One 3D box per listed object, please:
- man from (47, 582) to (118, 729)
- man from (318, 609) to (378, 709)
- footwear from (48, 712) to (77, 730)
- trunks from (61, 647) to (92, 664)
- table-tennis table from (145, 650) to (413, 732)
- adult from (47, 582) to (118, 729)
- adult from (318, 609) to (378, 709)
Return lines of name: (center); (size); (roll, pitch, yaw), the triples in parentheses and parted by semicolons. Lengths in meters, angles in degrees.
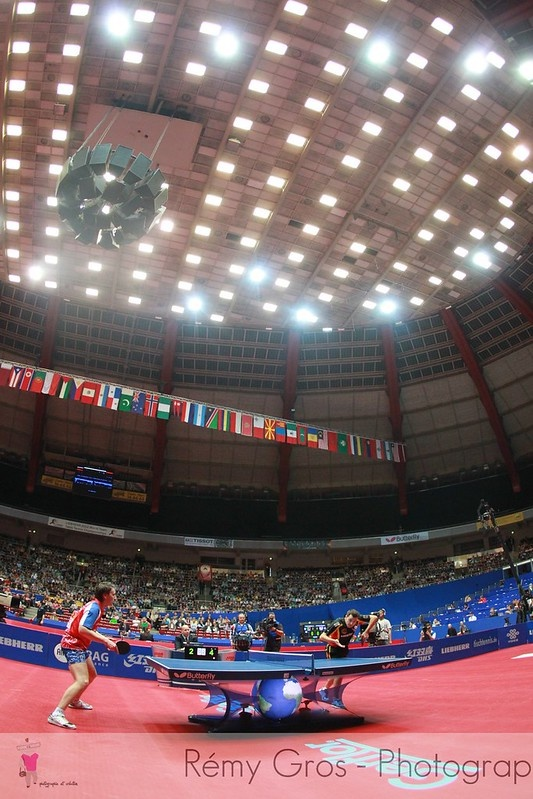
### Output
man: (-1.726, 2.385, 5.258); (0.520, 1.181, 1.501); (6, -25, -16)
man: (1.052, 3.311, 7.012); (0.696, 1.217, 0.602); (13, -15, -18)
footwear: (-1.720, 2.645, 4.547); (0.272, 0.147, 0.100); (-11, -26, 22)
trunks: (-1.811, 2.413, 5.165); (0.241, 0.144, 0.226); (5, -24, -13)
table-tennis table: (-0.098, 2.927, 5.616); (2.248, 0.590, 2.261); (3, -24, -11)
adult: (-1.724, 2.382, 5.250); (0.520, 1.181, 1.483); (6, -25, -16)
adult: (1.033, 3.320, 7.051); (0.654, 1.210, 0.590); (16, -16, -28)
